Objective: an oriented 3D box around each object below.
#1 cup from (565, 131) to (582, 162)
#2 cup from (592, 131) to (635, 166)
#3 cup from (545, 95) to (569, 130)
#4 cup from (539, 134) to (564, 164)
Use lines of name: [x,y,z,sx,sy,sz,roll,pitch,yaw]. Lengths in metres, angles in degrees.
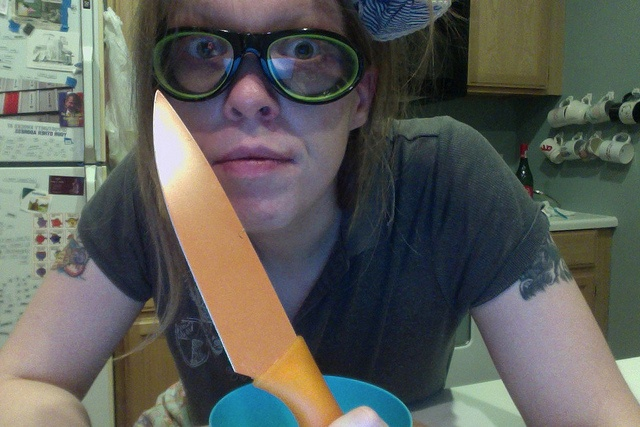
cup: [1.462,-0.382,3.241,0.079,0.150,0.094,5,13,-6]
cup: [1.584,-0.343,3.011,0.119,0.196,0.109,14,8,-2]
cup: [1.428,-0.580,3.337,0.094,0.194,0.150,7,-4,-28]
cup: [1.378,-0.410,3.463,0.129,0.092,0.115,-20,-4,-13]
